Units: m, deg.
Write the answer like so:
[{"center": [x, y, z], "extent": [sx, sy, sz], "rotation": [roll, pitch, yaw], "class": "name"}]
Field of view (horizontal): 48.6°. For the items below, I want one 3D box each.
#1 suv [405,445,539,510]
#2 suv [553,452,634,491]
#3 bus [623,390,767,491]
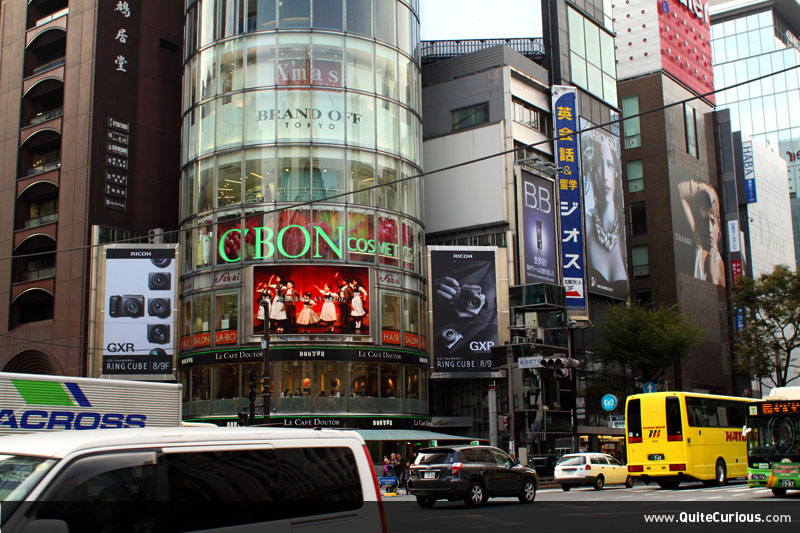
[{"center": [3.114, 8.517, 36.449], "extent": [2.902, 2.292, 5.717], "rotation": [-12, -16, 40], "class": "suv"}, {"center": [10.361, 10.776, 46.985], "extent": [2.471, 1.840, 5.453], "rotation": [-11, -16, 36], "class": "suv"}, {"center": [15.145, 8.777, 45.547], "extent": [3.769, 4.571, 10.875], "rotation": [-11, -15, 38], "class": "bus"}]
